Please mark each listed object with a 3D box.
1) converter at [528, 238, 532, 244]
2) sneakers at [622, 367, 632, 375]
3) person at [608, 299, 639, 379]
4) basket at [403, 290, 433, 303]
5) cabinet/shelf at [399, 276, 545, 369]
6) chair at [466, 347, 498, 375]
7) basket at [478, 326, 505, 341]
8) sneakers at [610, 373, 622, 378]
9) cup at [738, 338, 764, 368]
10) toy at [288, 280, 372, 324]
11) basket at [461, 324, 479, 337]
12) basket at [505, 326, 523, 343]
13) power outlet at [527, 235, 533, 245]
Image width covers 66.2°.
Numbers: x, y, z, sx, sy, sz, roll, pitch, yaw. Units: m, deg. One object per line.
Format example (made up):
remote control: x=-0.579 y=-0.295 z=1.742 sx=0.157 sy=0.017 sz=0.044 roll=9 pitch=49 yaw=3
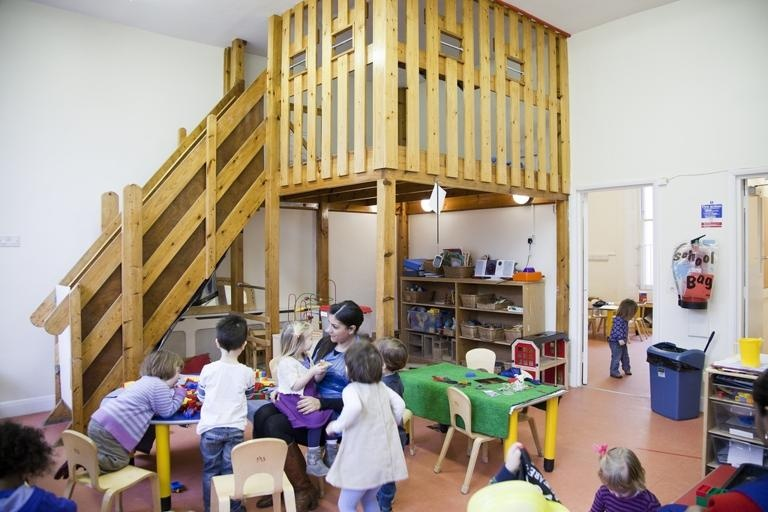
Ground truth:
converter: x=2.224 y=-0.239 z=9.051 sx=0.047 sy=0.071 sz=0.075 roll=3 pitch=1 yaw=-28
sneakers: x=3.737 y=1.772 z=9.081 sx=0.151 sy=0.145 sz=0.070 roll=-3 pitch=-3 yaw=41
person: x=3.683 y=1.244 z=9.161 sx=0.340 sy=1.152 sz=0.643 roll=2 pitch=1 yaw=22
basket: x=0.549 y=0.644 z=9.784 sx=0.319 sy=0.135 sz=0.230 roll=1 pitch=0 yaw=-40
cabinet/shelf: x=1.292 y=1.050 z=9.252 sx=0.608 sy=1.425 sz=2.403 roll=-1 pitch=-1 yaw=-44
chair: x=1.184 y=1.268 z=7.214 sx=0.283 sy=0.465 sz=0.321 roll=-1 pitch=-3 yaw=15
basket: x=1.587 y=1.142 z=8.793 sx=0.357 sy=0.201 sz=0.202 roll=2 pitch=1 yaw=11
sneakers: x=3.505 y=1.793 z=8.930 sx=0.132 sy=0.054 sz=0.054 roll=-2 pitch=-2 yaw=37
cup: x=3.725 y=0.966 z=5.985 sx=0.267 sy=0.281 sz=0.276 roll=-2 pitch=-4 yaw=0
toy: x=-1.043 y=0.700 z=9.112 sx=0.586 sy=0.540 sz=1.041 roll=3 pitch=5 yaw=44
basket: x=1.299 y=1.135 z=9.028 sx=0.126 sy=0.205 sz=0.330 roll=1 pitch=1 yaw=-30
basket: x=1.907 y=1.141 z=8.682 sx=0.191 sy=0.172 sz=0.267 roll=1 pitch=6 yaw=18
power outlet: x=2.229 y=-0.251 z=9.050 sx=0.016 sy=0.127 sz=0.096 roll=0 pitch=2 yaw=-36
